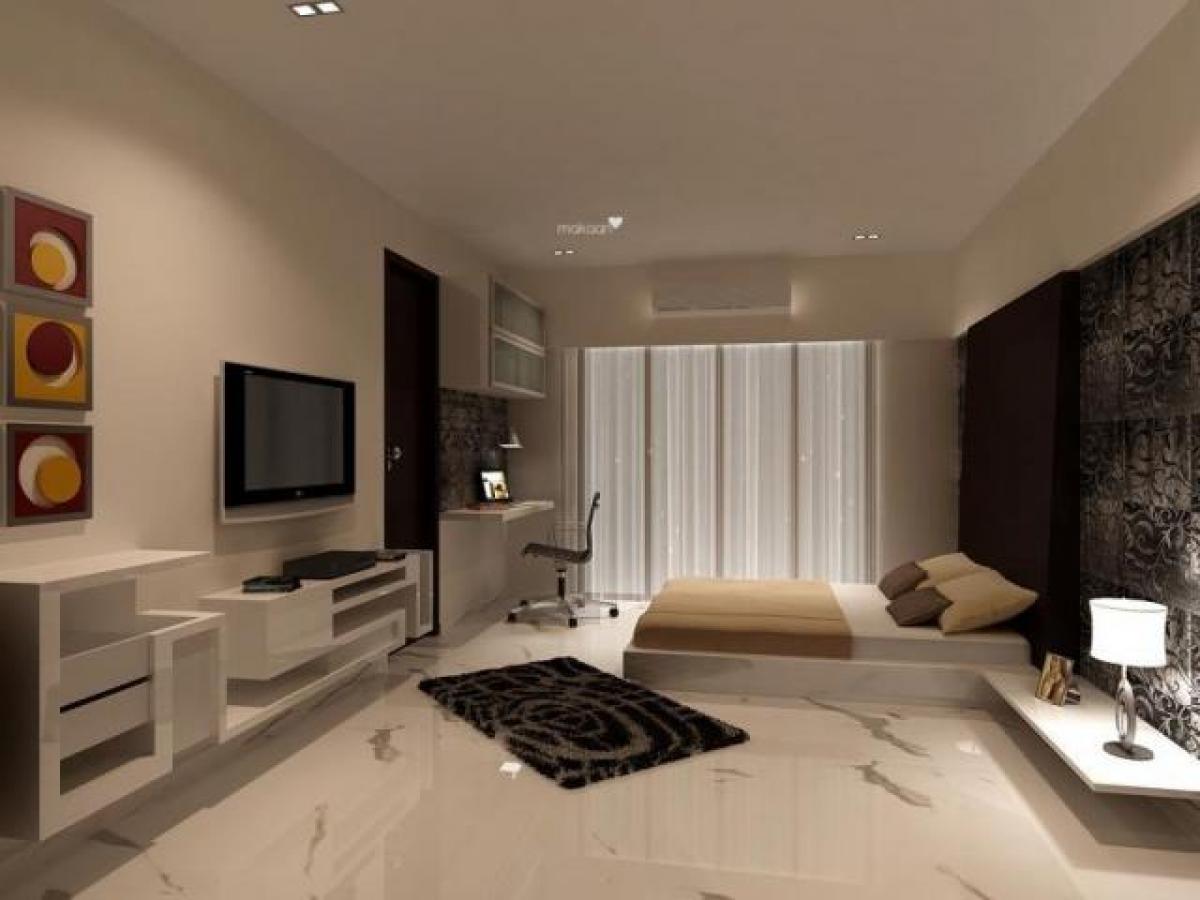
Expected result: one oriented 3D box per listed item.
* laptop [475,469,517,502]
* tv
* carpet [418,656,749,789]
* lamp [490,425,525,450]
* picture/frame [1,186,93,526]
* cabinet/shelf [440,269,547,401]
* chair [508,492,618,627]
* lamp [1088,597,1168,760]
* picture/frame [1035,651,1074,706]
[{"bbox_3d":[-0.904,0.308,6.660,0.217,0.290,0.414,-2,-3,17],"label":"laptop"},{"bbox_3d":[-1.695,-0.096,4.114,0.078,0.643,0.844,1,0,19],"label":"tv"},{"bbox_3d":[-0.132,1.453,4.326,1.110,0.071,1.696,-7,10,-40],"label":"carpet"},{"bbox_3d":[-0.821,-0.118,6.965,0.192,0.141,0.201,2,7,9],"label":"lamp"},{"bbox_3d":[-2.197,-0.368,3.098,0.131,1.306,0.451,3,8,23],"label":"picture/frame"},{"bbox_3d":[-0.875,-0.900,6.207,0.357,0.755,1.184,-2,-1,14],"label":"cabinet/shelf"},{"bbox_3d":[-0.304,0.901,6.550,0.894,1.147,1.021,1,-3,-6],"label":"chair"},{"bbox_3d":[2.326,0.971,3.451,0.274,0.640,0.424,5,9,34],"label":"lamp"},{"bbox_3d":[2.313,1.167,3.934,0.035,0.373,0.200,14,-8,-25],"label":"picture/frame"}]
